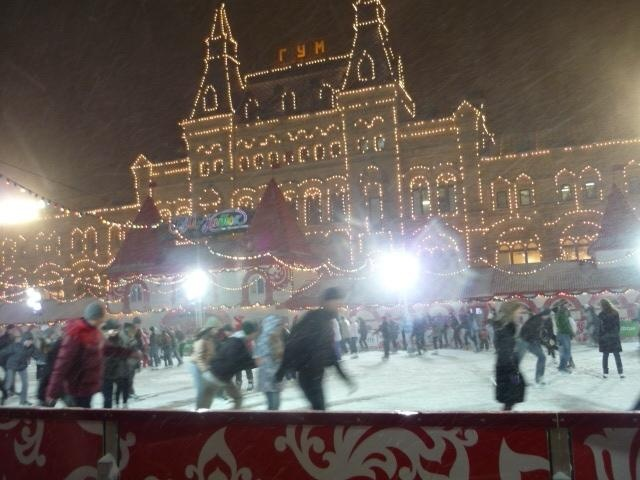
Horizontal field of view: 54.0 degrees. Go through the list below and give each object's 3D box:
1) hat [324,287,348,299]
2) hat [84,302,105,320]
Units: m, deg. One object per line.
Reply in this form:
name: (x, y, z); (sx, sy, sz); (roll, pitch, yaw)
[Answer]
hat: (0.204, 0.842, 9.817); (0.211, 0.116, 0.213); (3, 5, 7)
hat: (-3.666, 1.136, 10.204); (0.245, 0.289, 0.333); (-1, 5, -12)
